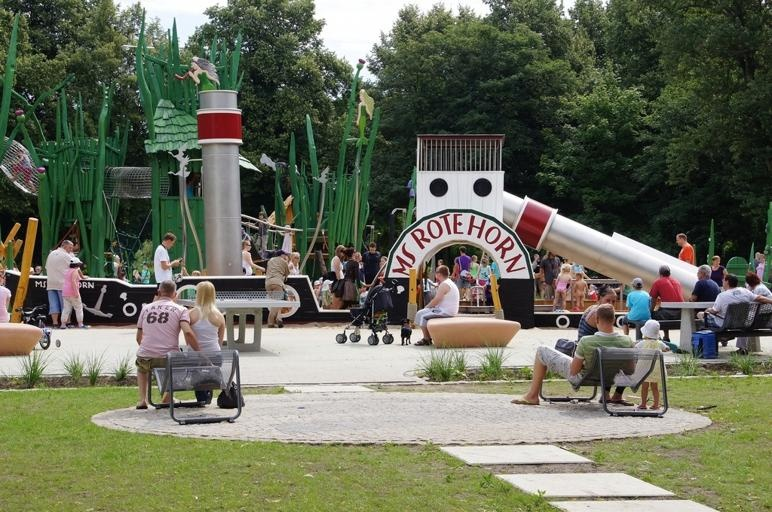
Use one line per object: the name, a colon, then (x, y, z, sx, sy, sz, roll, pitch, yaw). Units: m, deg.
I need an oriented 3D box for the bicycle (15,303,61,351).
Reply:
bicycle: (-9.447, 1.904, 31.672, 1.060, 1.084, 1.816, -1, 6, -23)

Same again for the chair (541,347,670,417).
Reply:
chair: (4.521, 2.559, 24.552, 1.316, 1.199, 2.411, 1, 1, -24)

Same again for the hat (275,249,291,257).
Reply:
hat: (-3.341, -0.081, 37.425, 0.322, 0.163, 0.410, -3, -8, 43)

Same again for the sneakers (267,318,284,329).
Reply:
sneakers: (-3.429, 2.090, 36.089, 0.253, 0.281, 0.638, 0, -4, -9)

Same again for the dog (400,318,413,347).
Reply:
dog: (0.540, 2.071, 31.841, 0.278, 0.676, 0.817, 2, -3, 0)

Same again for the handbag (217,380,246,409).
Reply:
handbag: (-3.184, 2.819, 23.766, 0.595, 0.611, 0.323, 3, 2, -14)

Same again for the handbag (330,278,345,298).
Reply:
handbag: (-1.503, 0.988, 36.198, 0.508, 0.376, 0.678, -26, 0, -3)

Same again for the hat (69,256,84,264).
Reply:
hat: (-9.822, 0.130, 36.949, 0.367, 0.207, 0.260, 5, 7, -34)

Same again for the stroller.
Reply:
stroller: (-0.588, 1.606, 32.209, 1.409, 1.644, 1.063, 0, -1, 22)

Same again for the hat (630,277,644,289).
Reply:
hat: (6.926, 0.737, 32.296, 0.257, 0.216, 0.383, 0, 12, 0)

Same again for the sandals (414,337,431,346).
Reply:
sandals: (0.975, 2.297, 31.279, 0.442, 0.197, 0.175, 1, -1, 8)

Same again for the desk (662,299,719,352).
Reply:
desk: (7.640, 1.777, 29.452, 1.221, 1.277, 1.247, 1, 4, 19)

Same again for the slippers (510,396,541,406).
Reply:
slippers: (2.895, 2.985, 24.438, 0.516, 0.212, 0.208, 6, -3, 14)

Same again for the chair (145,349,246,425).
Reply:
chair: (-3.960, 2.591, 23.968, 1.409, 1.522, 2.470, -1, 3, -21)

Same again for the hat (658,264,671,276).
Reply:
hat: (7.150, 0.381, 30.080, 0.245, 0.321, 0.313, 2, 13, 9)
